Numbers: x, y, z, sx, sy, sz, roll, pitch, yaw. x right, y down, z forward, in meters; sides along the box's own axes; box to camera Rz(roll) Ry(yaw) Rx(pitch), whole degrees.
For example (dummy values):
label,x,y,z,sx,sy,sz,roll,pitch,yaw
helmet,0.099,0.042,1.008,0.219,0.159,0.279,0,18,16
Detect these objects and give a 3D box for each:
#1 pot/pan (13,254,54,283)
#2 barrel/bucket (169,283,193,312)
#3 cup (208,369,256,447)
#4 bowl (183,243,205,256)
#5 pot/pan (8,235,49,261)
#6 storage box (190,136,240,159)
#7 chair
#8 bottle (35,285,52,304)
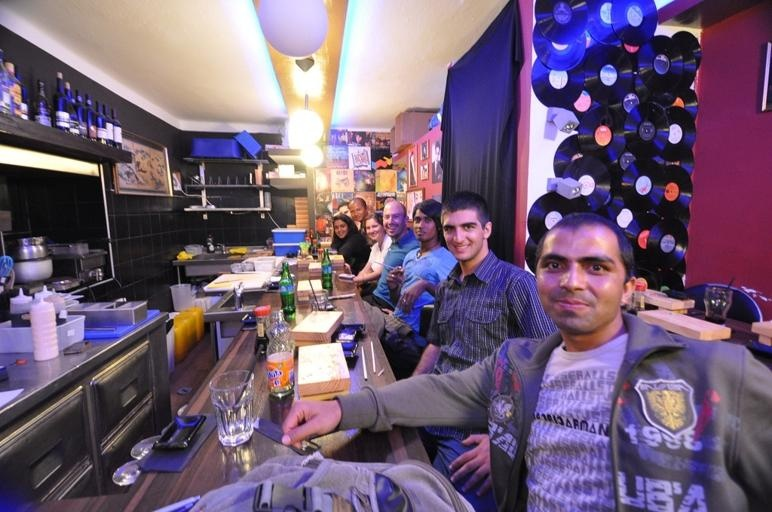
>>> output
label,x,y,z,sx,sy,sz,roll,pitch,yaw
pot/pan,-2.762,0.101,3.812,0.193,0.152,0.210,-2,0,28
barrel/bucket,-2.859,0.583,6.856,0.317,0.357,0.227,-3,6,-6
cup,-0.807,0.795,2.586,0.219,0.337,0.311,-4,6,-16
bowl,-2.857,-0.089,7.299,0.240,0.093,0.204,-7,12,-36
pot/pan,-2.781,-0.054,3.775,0.208,0.152,0.207,-2,3,-24
storage box,-2.612,-1.609,7.378,0.508,0.229,0.371,-2,8,-19
chair,2.526,0.358,3.700,0.385,0.182,0.519,-5,-1,3
bottle,-2.332,0.265,3.301,0.108,0.076,0.107,3,-1,0
